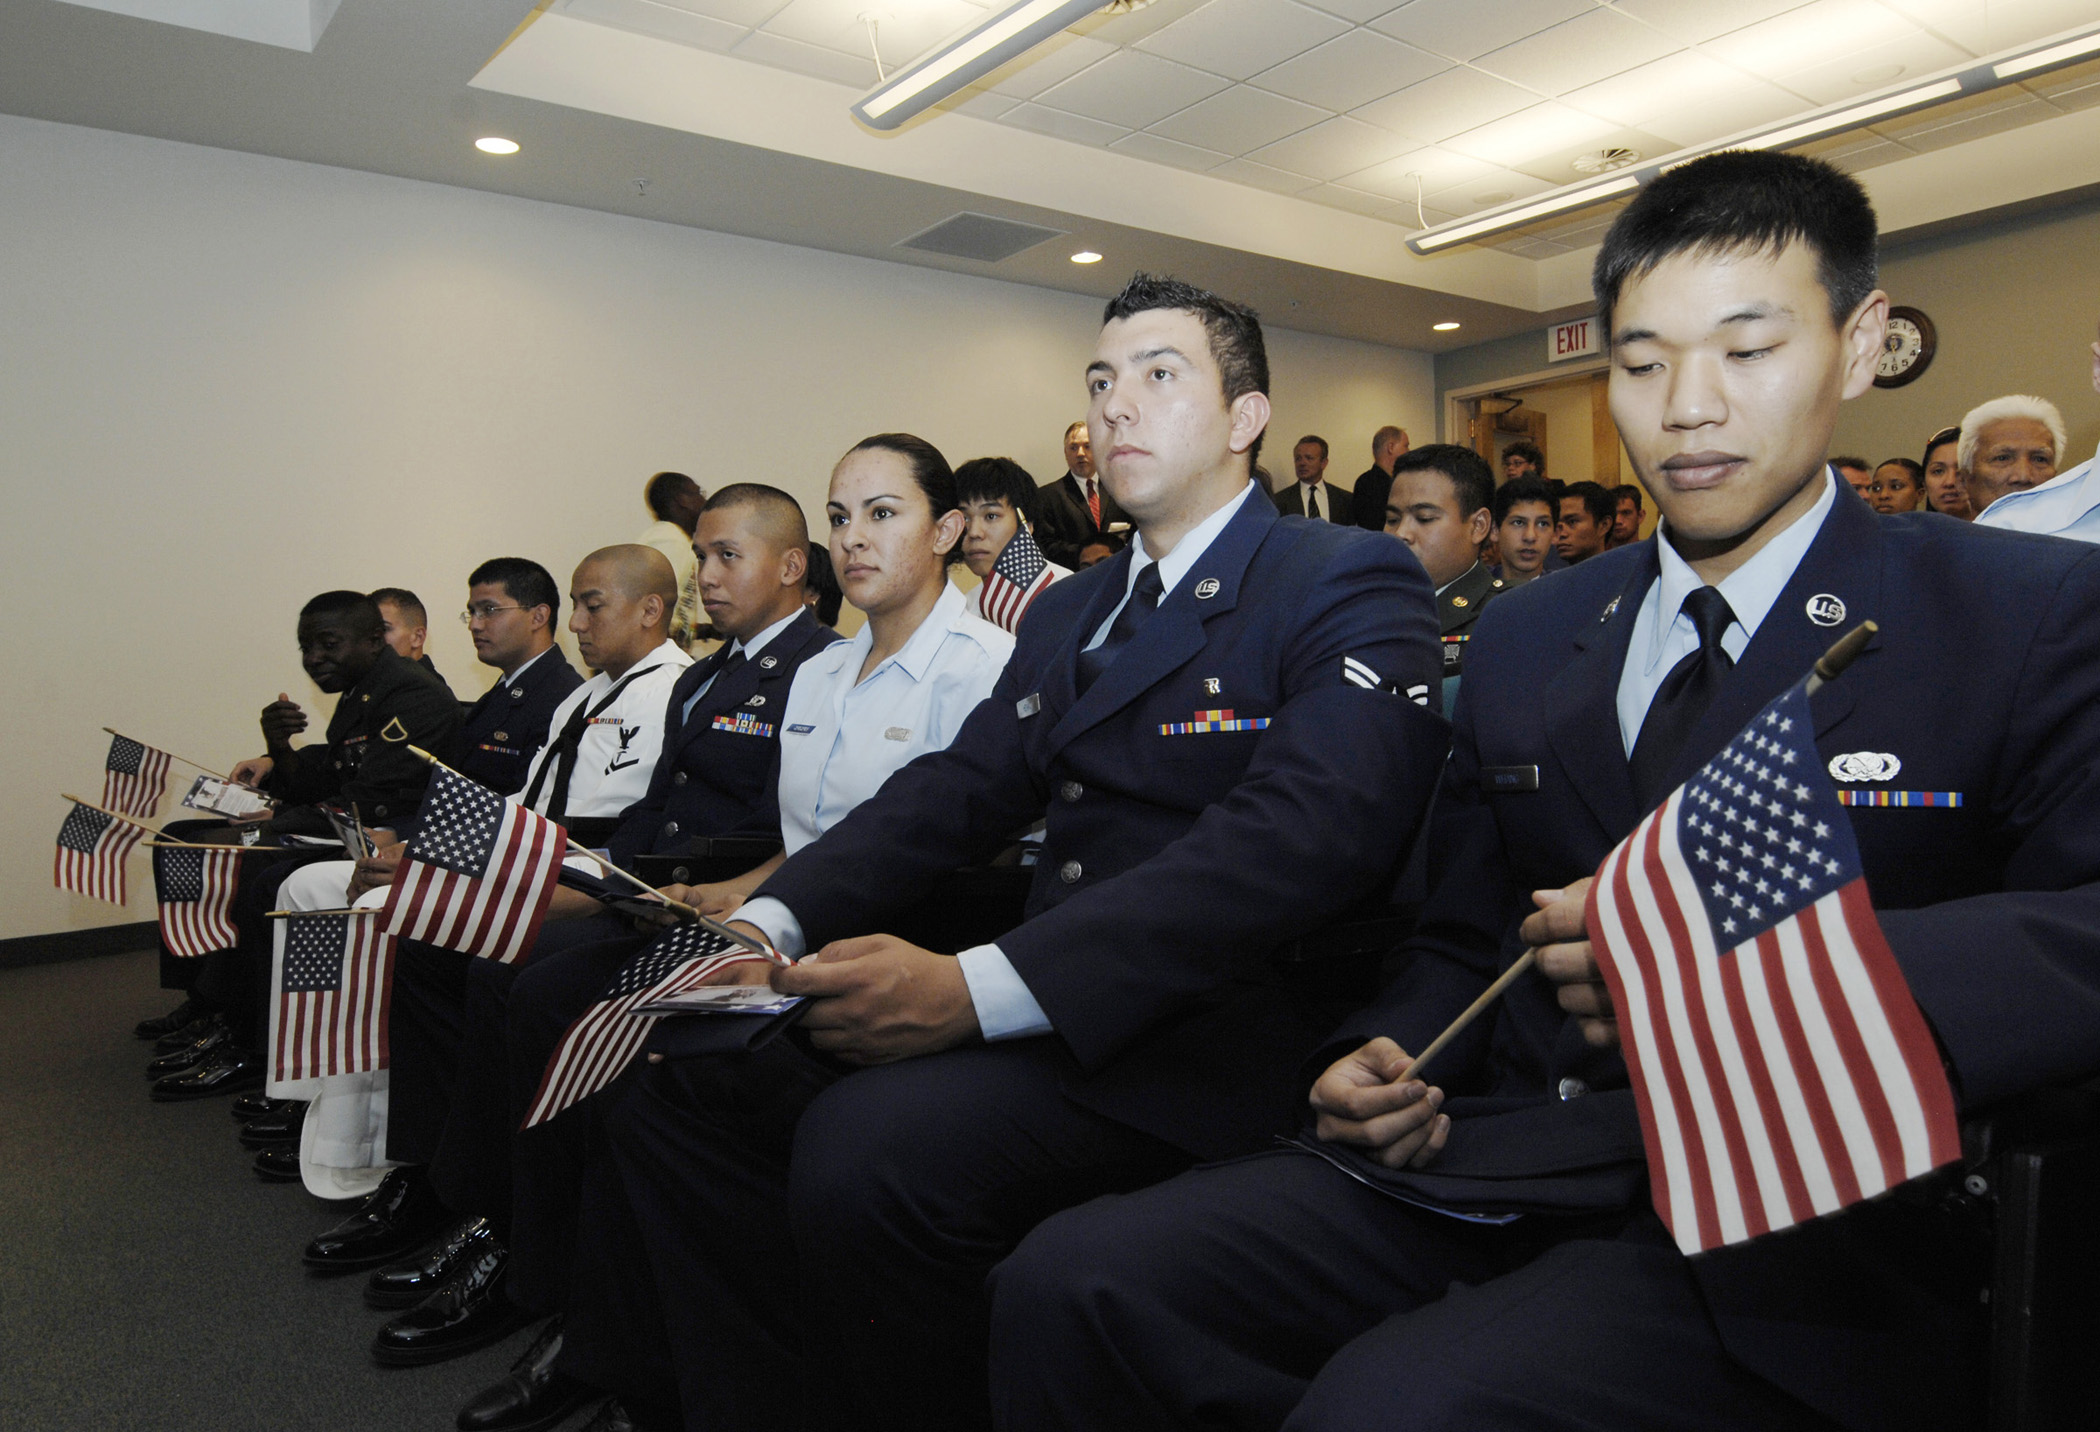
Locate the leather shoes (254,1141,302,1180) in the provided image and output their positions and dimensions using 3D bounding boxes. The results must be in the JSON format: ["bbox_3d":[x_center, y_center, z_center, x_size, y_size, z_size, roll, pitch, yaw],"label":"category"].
[{"bbox_3d":[-2.003,1.136,3.661,0.101,0.096,0.227,8,-17,-12],"label":"leather shoes"}]

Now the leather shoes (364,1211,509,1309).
[{"bbox_3d":[-1.269,1.122,2.913,0.274,0.112,0.090,-26,56,-24],"label":"leather shoes"}]

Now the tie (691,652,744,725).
[{"bbox_3d":[-0.821,-0.074,3.434,0.120,0.163,0.060,31,9,31],"label":"tie"}]

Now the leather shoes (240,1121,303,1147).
[{"bbox_3d":[-2.097,1.109,3.796,0.168,0.067,0.060,9,-8,-36],"label":"leather shoes"}]

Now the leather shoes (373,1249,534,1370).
[{"bbox_3d":[-1.176,1.150,2.810,0.143,0.141,0.397,22,1,20],"label":"leather shoes"}]

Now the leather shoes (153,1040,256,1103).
[{"bbox_3d":[-2.547,1.082,4.337,0.129,0.129,0.345,5,-2,44],"label":"leather shoes"}]

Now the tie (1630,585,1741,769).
[{"bbox_3d":[0.763,-0.045,1.702,0.046,0.208,0.122,16,1,-21],"label":"tie"}]

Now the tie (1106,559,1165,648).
[{"bbox_3d":[0.157,-0.194,2.307,0.049,0.051,0.204,19,45,16],"label":"tie"}]

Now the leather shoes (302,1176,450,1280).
[{"bbox_3d":[-1.486,1.117,3.160,0.144,0.164,0.401,-2,-6,34],"label":"leather shoes"}]
